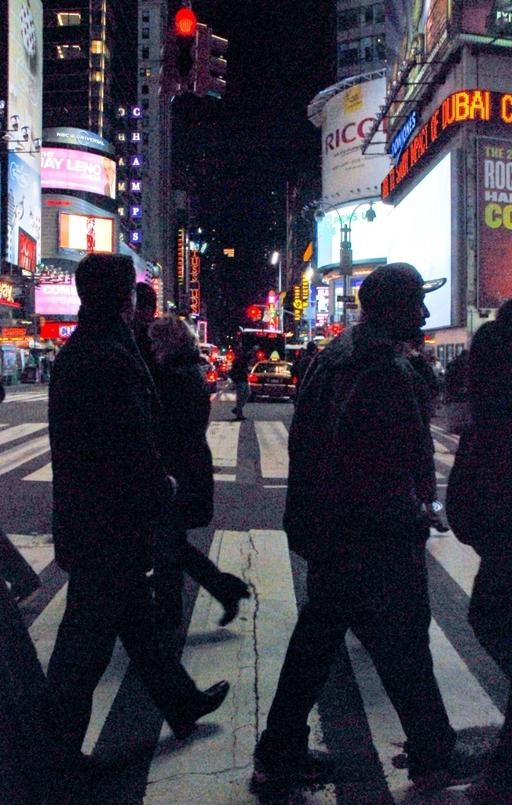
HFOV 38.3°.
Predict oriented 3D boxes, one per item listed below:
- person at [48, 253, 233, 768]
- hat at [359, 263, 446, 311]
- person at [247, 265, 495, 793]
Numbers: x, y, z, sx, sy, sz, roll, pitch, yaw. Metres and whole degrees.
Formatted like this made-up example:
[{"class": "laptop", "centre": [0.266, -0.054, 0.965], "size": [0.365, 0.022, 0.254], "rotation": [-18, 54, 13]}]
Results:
[{"class": "person", "centre": [-0.465, 0.396, 2.755], "size": [0.477, 1.761, 0.818], "rotation": [0, -1, 33]}, {"class": "hat", "centre": [0.482, -0.382, 2.491], "size": [0.225, 0.120, 0.148], "rotation": [-23, 15, 8]}, {"class": "person", "centre": [0.337, 0.427, 2.472], "size": [0.668, 1.809, 0.347], "rotation": [1, 2, 16]}]
